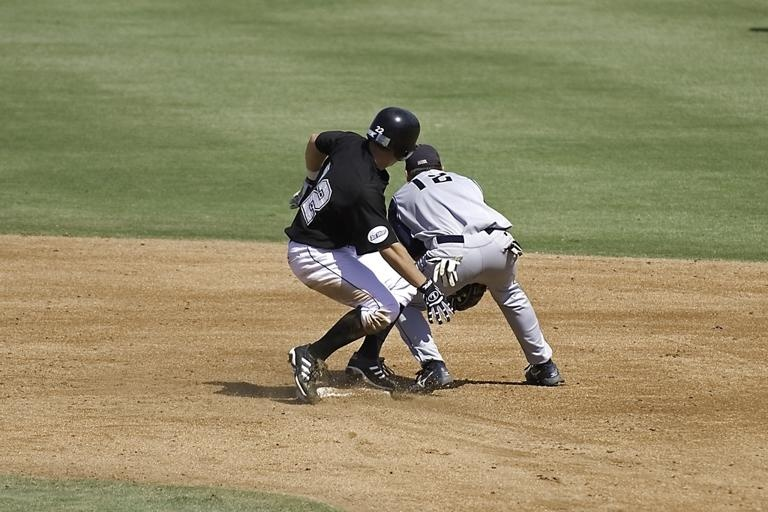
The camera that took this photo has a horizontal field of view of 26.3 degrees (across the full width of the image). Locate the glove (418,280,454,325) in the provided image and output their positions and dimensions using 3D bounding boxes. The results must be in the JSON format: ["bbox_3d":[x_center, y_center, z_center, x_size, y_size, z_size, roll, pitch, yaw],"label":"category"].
[{"bbox_3d":[0.721,0.639,22.754,0.425,0.656,0.550,-11,20,-20],"label":"glove"}]

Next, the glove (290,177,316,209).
[{"bbox_3d":[-1.235,-0.868,23.531,0.290,0.225,0.680,-32,-8,-16],"label":"glove"}]
